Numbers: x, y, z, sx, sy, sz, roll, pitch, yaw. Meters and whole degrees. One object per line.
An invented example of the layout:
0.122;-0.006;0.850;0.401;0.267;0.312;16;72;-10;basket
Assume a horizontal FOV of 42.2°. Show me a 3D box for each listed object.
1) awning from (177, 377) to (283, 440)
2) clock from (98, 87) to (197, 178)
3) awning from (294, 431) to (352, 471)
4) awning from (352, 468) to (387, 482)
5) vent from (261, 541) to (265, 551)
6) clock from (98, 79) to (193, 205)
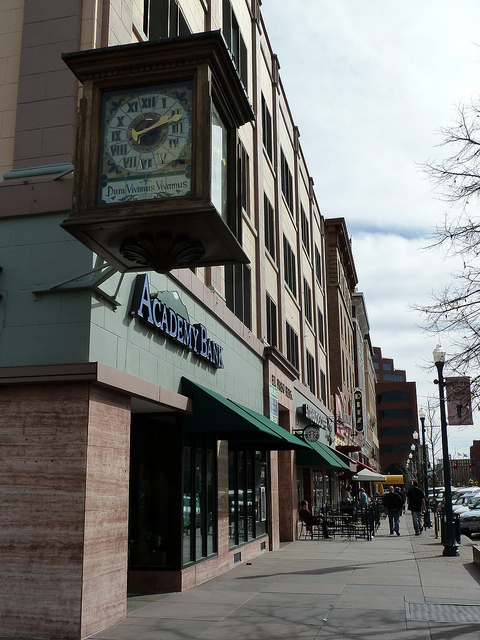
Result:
-0.179;1.846;11.659;1.348;0.957;3.629;-6;-18;5;awning
-0.868;-1.784;6.028;0.682;0.880;0.062;-9;-20;6;clock
3.510;5.573;26.165;0.820;1.217;5.301;-18;-20;8;awning
7.792;9.433;37.932;1.217;0.704;4.109;-13;-19;24;awning
0.614;6.037;16.603;0.051;0.253;0.212;-3;-5;20;vent
-0.889;-1.674;5.998;0.955;1.651;0.075;-4;-16;17;clock
